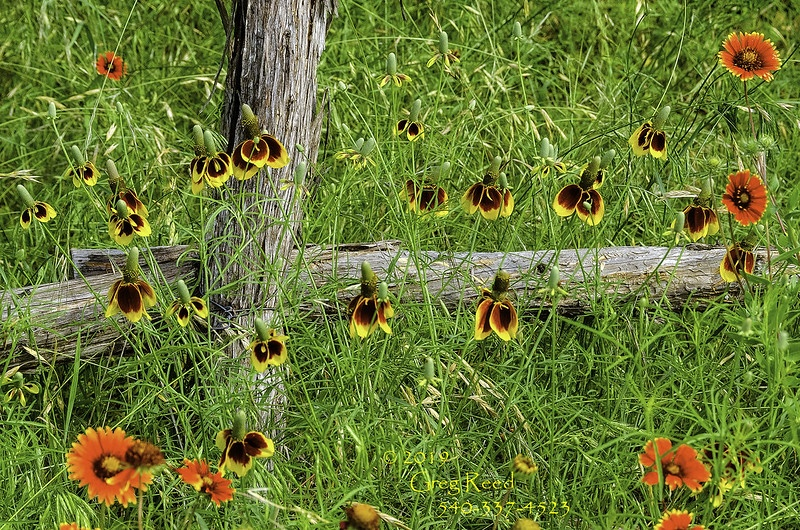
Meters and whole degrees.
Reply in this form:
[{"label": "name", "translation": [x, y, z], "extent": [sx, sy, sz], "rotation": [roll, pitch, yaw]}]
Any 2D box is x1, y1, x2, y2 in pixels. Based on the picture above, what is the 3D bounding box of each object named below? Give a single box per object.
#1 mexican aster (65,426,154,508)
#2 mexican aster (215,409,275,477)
[{"label": "mexican aster", "translation": [-0.820, 0.569, 2.146], "extent": [0.232, 0.098, 0.267], "rotation": [7, 69, -24]}, {"label": "mexican aster", "translation": [-0.476, 0.548, 2.325], "extent": [0.175, 0.063, 0.203], "rotation": [-8, 80, 0]}]
